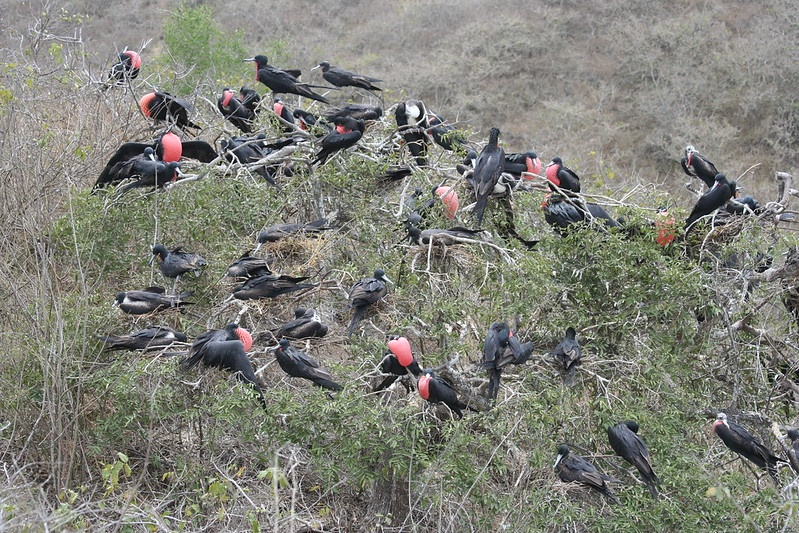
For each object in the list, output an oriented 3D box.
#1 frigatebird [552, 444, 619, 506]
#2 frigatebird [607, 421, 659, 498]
[{"bbox_3d":[1.936,2.146,9.781,0.794,0.447,0.278,6,5,43],"label":"frigatebird"},{"bbox_3d":[2.427,1.945,9.768,0.313,0.420,0.924,-22,39,-3],"label":"frigatebird"}]
